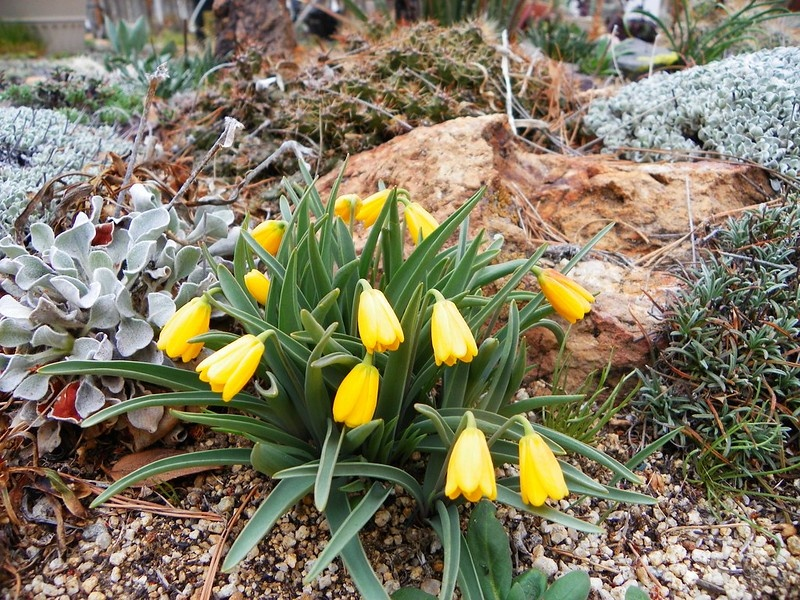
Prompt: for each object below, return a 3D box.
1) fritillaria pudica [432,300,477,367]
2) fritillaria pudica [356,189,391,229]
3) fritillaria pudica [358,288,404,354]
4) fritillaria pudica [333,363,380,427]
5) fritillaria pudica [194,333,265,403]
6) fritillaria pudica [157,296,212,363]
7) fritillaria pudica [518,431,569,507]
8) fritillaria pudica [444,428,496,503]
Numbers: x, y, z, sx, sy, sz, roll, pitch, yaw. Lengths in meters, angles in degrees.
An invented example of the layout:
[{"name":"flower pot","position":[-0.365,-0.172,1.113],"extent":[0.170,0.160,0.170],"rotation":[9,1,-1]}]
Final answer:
[{"name":"fritillaria pudica","position":[0.160,0.110,2.233],"extent":[0.121,0.142,0.182],"rotation":[-13,42,-16]},{"name":"fritillaria pudica","position":[-0.107,-0.348,2.729],"extent":[0.108,0.180,0.070],"rotation":[29,35,-6]},{"name":"fritillaria pudica","position":[-0.059,0.076,2.263],"extent":[0.108,0.101,0.224],"rotation":[-16,80,9]},{"name":"fritillaria pudica","position":[-0.134,0.312,2.235],"extent":[0.119,0.219,0.096],"rotation":[25,6,-10]},{"name":"fritillaria pudica","position":[-0.531,0.210,2.297],"extent":[0.142,0.117,0.275],"rotation":[38,77,23]},{"name":"fritillaria pudica","position":[-0.737,0.099,2.442],"extent":[0.132,0.131,0.287],"rotation":[21,88,-6]},{"name":"fritillaria pudica","position":[0.447,0.535,2.156],"extent":[0.130,0.102,0.247],"rotation":[-13,82,4]},{"name":"fritillaria pudica","position":[0.234,0.548,2.205],"extent":[0.152,0.237,0.178],"rotation":[8,39,9]}]
